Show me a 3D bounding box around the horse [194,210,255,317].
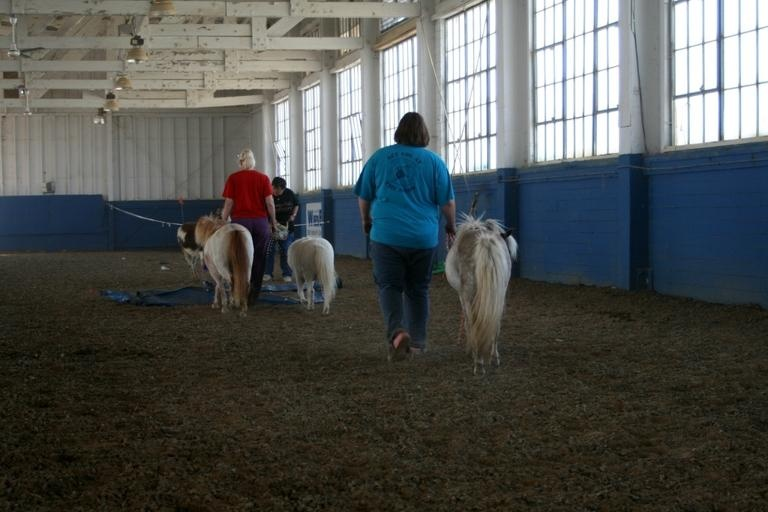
[{"bbox_3d":[-2.136,0.117,9.610,0.528,1.336,1.946,-5,4,-26],"label":"horse"}]

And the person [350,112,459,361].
[{"bbox_3d":[0.198,-0.171,6.610,0.898,2.257,0.785,-1,8,-4],"label":"person"}]

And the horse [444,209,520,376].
[{"bbox_3d":[0.886,0.320,6.688,0.615,1.369,0.858,0,8,6],"label":"horse"}]

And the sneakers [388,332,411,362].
[{"bbox_3d":[0.135,0.823,6.483,0.134,0.140,0.348,10,-40,-11],"label":"sneakers"}]

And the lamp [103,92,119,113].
[{"bbox_3d":[-7.871,-4.509,20.845,0.314,0.585,3.151,-3,10,-18],"label":"lamp"}]

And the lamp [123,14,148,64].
[{"bbox_3d":[-4.549,-3.943,13.305,0.357,0.681,0.322,-4,5,-38],"label":"lamp"}]

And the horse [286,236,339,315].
[{"bbox_3d":[-0.988,0.206,9.684,0.493,1.113,1.696,0,-1,-19],"label":"horse"}]

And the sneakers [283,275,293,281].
[{"bbox_3d":[-1.691,0.406,12.705,0.071,0.098,0.211,1,-7,-18],"label":"sneakers"}]
